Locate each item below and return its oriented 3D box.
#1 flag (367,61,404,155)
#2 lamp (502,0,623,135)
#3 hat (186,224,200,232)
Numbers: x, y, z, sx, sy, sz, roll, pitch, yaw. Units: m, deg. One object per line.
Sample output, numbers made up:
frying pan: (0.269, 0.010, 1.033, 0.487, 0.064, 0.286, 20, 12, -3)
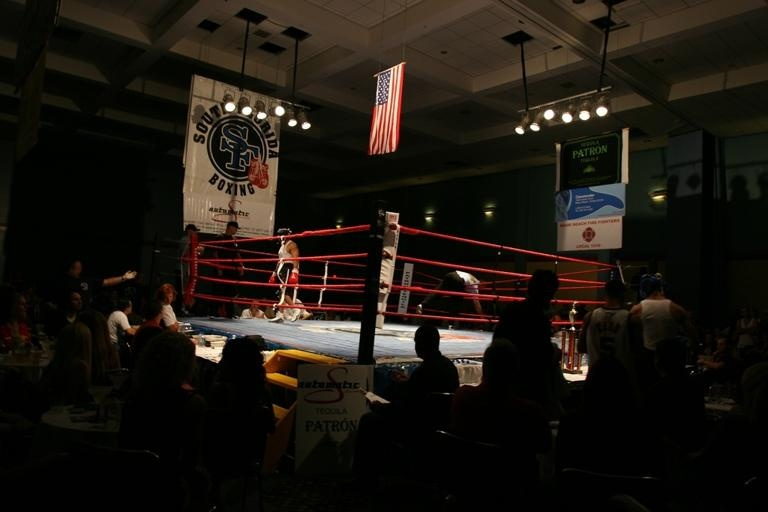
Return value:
flag: (0.039, -2.145, 8.062, 0.403, 1.457, 0.730, 3, -6, -6)
lamp: (2.928, -3.156, 9.359, 1.885, 1.774, 0.640, 0, -2, 37)
hat: (-2.900, -0.403, 8.516, 0.139, 0.055, 0.181, 5, -4, -36)
